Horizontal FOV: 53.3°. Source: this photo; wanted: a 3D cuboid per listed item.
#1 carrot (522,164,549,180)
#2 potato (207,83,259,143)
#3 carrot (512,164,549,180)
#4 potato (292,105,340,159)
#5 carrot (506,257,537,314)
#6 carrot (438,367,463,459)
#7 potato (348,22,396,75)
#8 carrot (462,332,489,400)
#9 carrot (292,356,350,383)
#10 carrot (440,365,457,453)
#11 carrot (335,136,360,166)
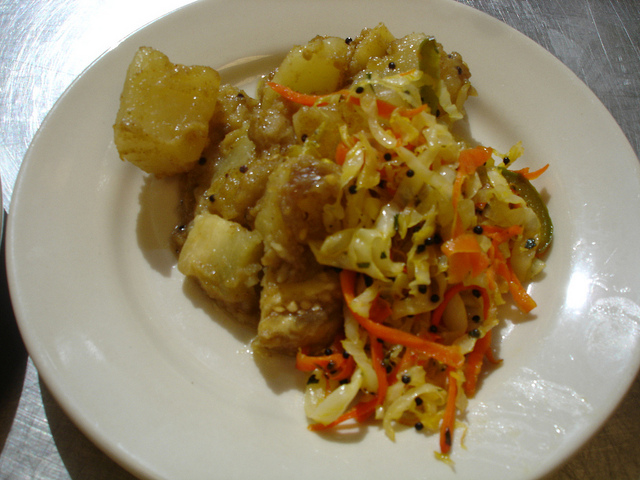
[{"bbox_3d":[1.203,-0.367,3.624,0.177,0.066,0.048,-16,58,7],"label":"carrot"},{"bbox_3d":[-0.510,-0.690,3.700,0.271,0.093,0.314,27,77,8],"label":"potato"},{"bbox_3d":[1.196,-0.381,3.627,0.215,0.110,0.081,-7,82,0],"label":"carrot"},{"bbox_3d":[-0.042,-0.568,3.402,0.256,0.071,0.274,21,97,11],"label":"potato"},{"bbox_3d":[1.057,0.279,3.442,0.091,0.097,0.383,-24,51,20],"label":"carrot"},{"bbox_3d":[0.652,0.848,3.140,0.149,0.098,0.371,13,67,-1],"label":"carrot"},{"bbox_3d":[0.282,-1.089,3.587,0.310,0.094,0.257,-14,63,17],"label":"potato"},{"bbox_3d":[0.798,0.651,3.344,0.088,0.100,0.382,24,71,-13],"label":"carrot"},{"bbox_3d":[0.017,0.669,3.308,0.180,0.067,0.177,-16,24,-28],"label":"carrot"},{"bbox_3d":[0.637,0.871,3.144,0.074,0.053,0.335,8,61,7],"label":"carrot"},{"bbox_3d":[0.137,-0.456,3.299,0.120,0.124,0.125,-4,32,-8],"label":"carrot"}]
